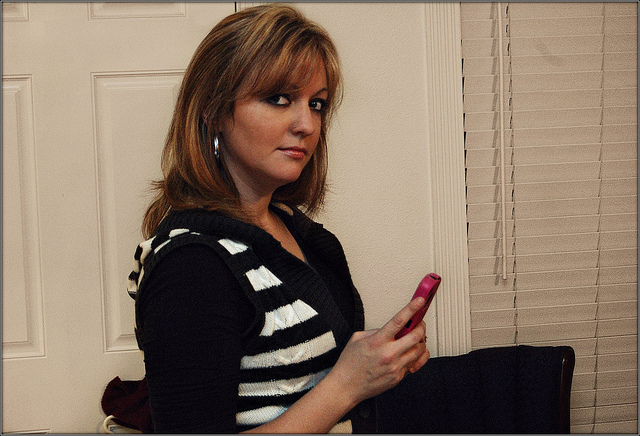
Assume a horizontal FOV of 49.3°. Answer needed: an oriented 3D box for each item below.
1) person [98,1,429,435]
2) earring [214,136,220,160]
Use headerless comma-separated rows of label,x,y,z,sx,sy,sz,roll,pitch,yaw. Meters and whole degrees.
person,-0.190,0.020,2.371,0.903,1.448,0.491,-3,3,-16
earring,-0.346,-0.230,2.345,0.010,0.071,0.014,-1,3,29
